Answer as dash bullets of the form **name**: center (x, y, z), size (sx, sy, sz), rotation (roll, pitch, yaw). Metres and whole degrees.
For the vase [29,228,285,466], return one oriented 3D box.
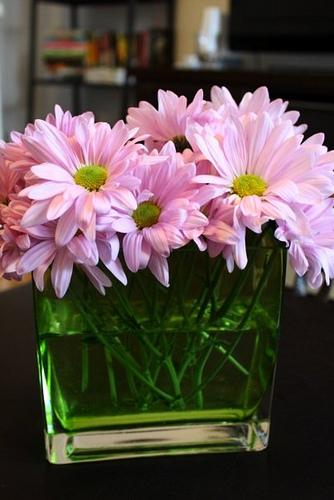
- **vase**: center (-0.010, 0.066, 0.397), size (0.184, 0.177, 0.110), rotation (0, 10, -5)

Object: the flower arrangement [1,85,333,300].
- **flower arrangement**: center (-0.006, -0.034, 0.319), size (0.178, 0.115, 0.158), rotation (8, 7, 3)
